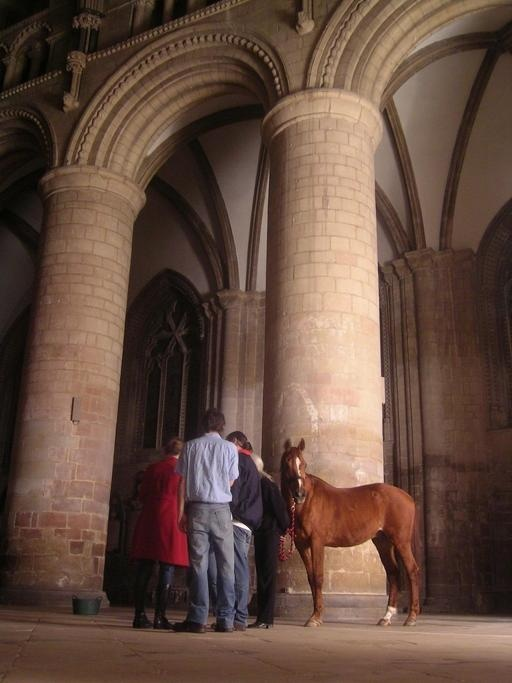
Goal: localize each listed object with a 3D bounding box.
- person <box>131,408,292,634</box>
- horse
[{"bbox_3d":[-0.386,1.197,4.120,0.663,1.386,0.993,8,-18,-25],"label":"person"},{"bbox_3d":[0.663,1.593,5.045,1.379,1.409,0.767,10,-19,-29],"label":"horse"}]
